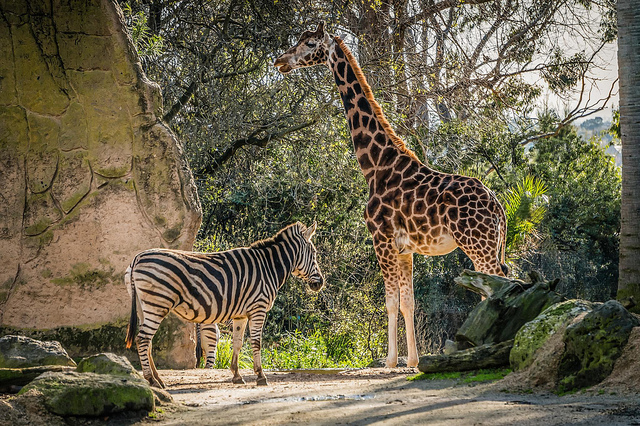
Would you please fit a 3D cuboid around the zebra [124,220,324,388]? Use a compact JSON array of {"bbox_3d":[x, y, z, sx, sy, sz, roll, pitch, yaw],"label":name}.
[{"bbox_3d":[-1.415,1.527,12.727,3.281,2.967,1.069,1,0,-21],"label":"zebra"}]
